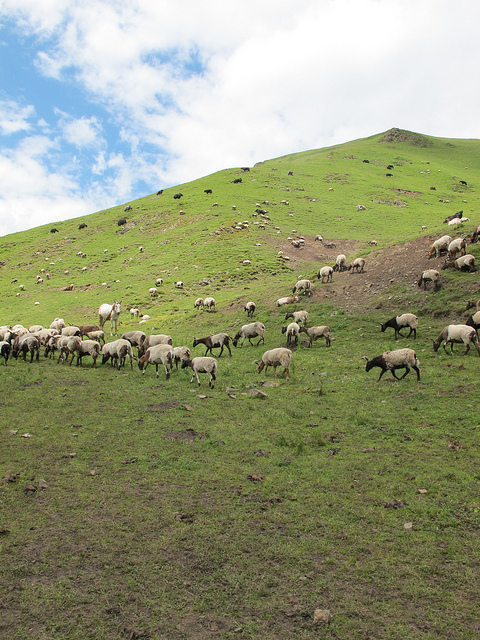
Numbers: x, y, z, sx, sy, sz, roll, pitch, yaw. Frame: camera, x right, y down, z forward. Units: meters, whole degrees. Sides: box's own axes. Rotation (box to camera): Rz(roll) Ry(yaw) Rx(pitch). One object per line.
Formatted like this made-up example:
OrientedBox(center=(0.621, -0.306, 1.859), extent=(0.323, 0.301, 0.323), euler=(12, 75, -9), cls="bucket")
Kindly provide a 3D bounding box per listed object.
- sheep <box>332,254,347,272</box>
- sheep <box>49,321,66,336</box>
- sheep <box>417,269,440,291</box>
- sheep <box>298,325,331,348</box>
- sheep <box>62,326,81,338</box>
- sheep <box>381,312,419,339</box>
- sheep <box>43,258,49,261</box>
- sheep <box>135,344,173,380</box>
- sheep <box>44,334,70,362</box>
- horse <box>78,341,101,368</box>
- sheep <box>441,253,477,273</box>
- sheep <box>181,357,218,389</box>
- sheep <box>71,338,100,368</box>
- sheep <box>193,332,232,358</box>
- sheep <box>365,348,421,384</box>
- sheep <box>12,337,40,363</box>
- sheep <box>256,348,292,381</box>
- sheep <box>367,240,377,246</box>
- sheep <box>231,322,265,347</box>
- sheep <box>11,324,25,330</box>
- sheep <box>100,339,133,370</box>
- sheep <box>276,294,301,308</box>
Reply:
OrientedBox(center=(5.501, -3.105, 36.815), extent=(0.617, 0.941, 1.633), euler=(0, 13, 10), cls="sheep")
OrientedBox(center=(-8.201, 0.380, 29.865), extent=(0.521, 0.780, 1.642), euler=(-5, -6, -14), cls="sheep")
OrientedBox(center=(7.556, -1.569, 26.324), extent=(0.629, 0.830, 1.281), euler=(-4, 13, -4), cls="sheep")
OrientedBox(center=(2.993, 0.629, 25.325), extent=(0.787, 0.768, 1.619), euler=(-9, 14, -26), cls="sheep")
OrientedBox(center=(-6.946, 0.577, 27.440), extent=(0.726, 0.531, 1.152), euler=(-6, 13, -14), cls="sheep")
OrientedBox(center=(5.682, 0.115, 23.369), extent=(0.421, 0.828, 1.815), euler=(-8, 14, -19), cls="sheep")
OrientedBox(center=(-19.691, -6.104, 67.499), extent=(0.459, 0.172, 0.521), euler=(3, 6, -4), cls="sheep")
OrientedBox(center=(-2.862, 1.410, 22.683), extent=(0.874, 1.168, 1.737), euler=(-11, 15, -29), cls="sheep")
OrientedBox(center=(-7.185, 1.033, 25.966), extent=(0.838, 1.066, 1.906), euler=(-8, 14, -21), cls="sheep")
OrientedBox(center=(-5.475, 1.259, 24.545), extent=(0.737, 0.867, 1.056), euler=(-15, 18, -40), cls="horse")
OrientedBox(center=(8.829, -2.221, 26.278), extent=(0.430, 0.665, 1.521), euler=(-8, 13, -19), cls="sheep")
OrientedBox(center=(-1.118, 1.646, 20.984), extent=(0.644, 0.890, 1.662), euler=(-10, 15, -27), cls="sheep")
OrientedBox(center=(-5.683, 1.231, 24.578), extent=(1.004, 1.039, 1.183), euler=(-6, 14, -15), cls="sheep")
OrientedBox(center=(-1.043, 0.955, 25.897), extent=(1.432, 1.008, 1.365), euler=(-3, 13, -3), cls="sheep")
OrientedBox(center=(4.443, 1.283, 19.263), extent=(0.797, 1.013, 1.952), euler=(-10, 15, -27), cls="sheep")
OrientedBox(center=(-8.027, 1.072, 24.977), extent=(0.876, 0.884, 0.587), euler=(4, 15, 24), cls="sheep")
OrientedBox(center=(1.195, 1.435, 21.528), extent=(0.735, 1.027, 1.785), euler=(-8, 14, -20), cls="sheep")
OrientedBox(center=(10.952, -6.272, 54.156), extent=(0.323, 0.535, 1.190), euler=(2, 4, 41), cls="sheep")
OrientedBox(center=(0.367, 0.575, 27.566), extent=(1.254, 1.050, 1.279), euler=(-3, 13, 0), cls="sheep")
OrientedBox(center=(-9.893, 0.315, 29.648), extent=(0.384, 0.469, 0.969), euler=(-3, 0, -29), cls="sheep")
OrientedBox(center=(-4.339, 1.270, 24.055), extent=(0.781, 1.133, 1.610), euler=(-12, 16, -32), cls="sheep")
OrientedBox(center=(2.465, -0.900, 31.552), extent=(1.567, 0.350, 0.782), euler=(-7, -3, 10), cls="sheep")
